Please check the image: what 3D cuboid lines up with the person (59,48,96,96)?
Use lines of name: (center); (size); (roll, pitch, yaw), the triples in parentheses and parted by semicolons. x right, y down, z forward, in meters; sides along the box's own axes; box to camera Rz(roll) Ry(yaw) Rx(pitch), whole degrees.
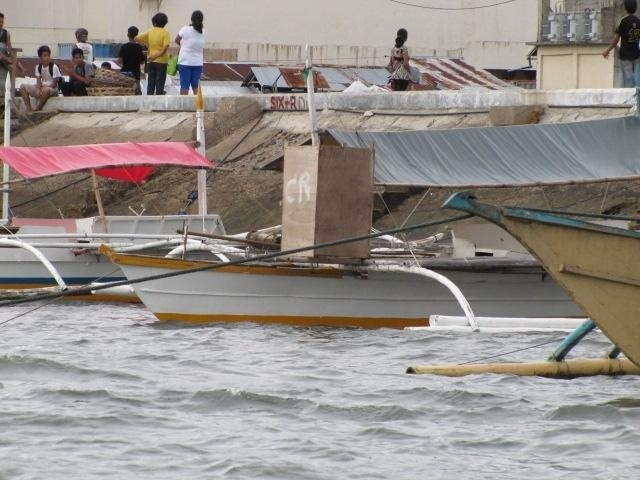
person: (-5.643, -3.759, 38.398); (0.816, 1.141, 0.817); (-6, 18, -40)
